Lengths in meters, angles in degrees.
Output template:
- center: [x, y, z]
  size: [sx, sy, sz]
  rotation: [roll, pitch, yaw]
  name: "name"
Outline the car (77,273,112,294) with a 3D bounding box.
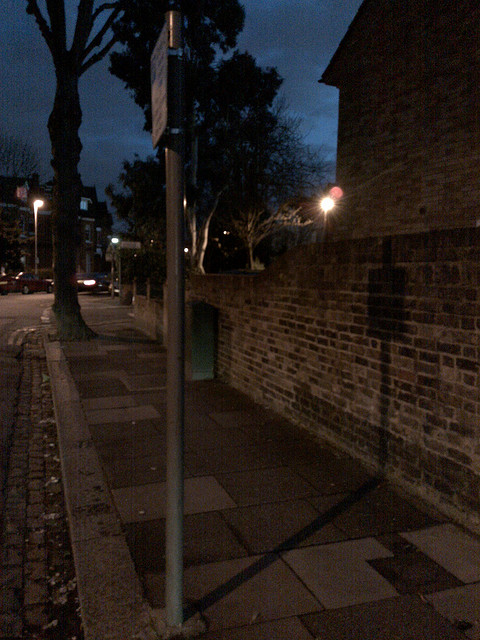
- center: [-9.569, -2.400, 38.670]
  size: [2.073, 1.269, 1.183]
  rotation: [-3, 5, -25]
  name: "car"
